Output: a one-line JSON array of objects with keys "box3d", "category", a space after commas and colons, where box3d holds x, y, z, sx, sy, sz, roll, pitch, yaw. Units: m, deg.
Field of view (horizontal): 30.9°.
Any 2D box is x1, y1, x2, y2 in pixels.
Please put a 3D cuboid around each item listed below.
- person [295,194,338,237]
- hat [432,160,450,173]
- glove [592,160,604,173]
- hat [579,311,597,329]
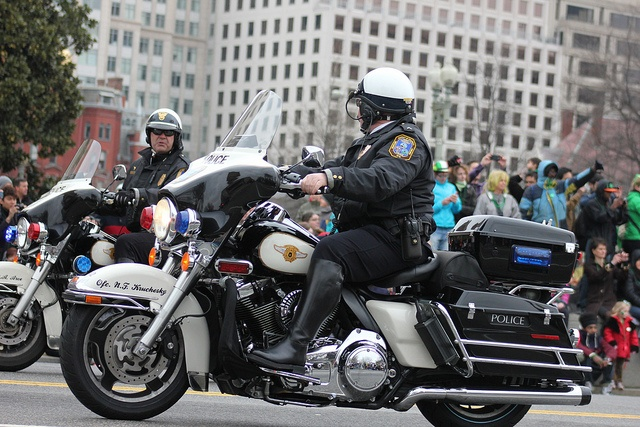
[{"box3d": [-0.024, 0.066, 24.451, 0.724, 0.752, 1.419, -5, -16, 37], "category": "person"}, {"box3d": [2.388, -0.922, 22.933, 0.309, 0.187, 0.407, 1, -4, -14], "category": "hat"}, {"box3d": [5.560, -0.943, 23.110, 0.227, 0.150, 0.423, 26, 4, 4], "category": "glove"}, {"box3d": [5.283, 2.147, 22.903, 0.319, 0.255, 0.288, 1, -2, 43], "category": "hat"}]
